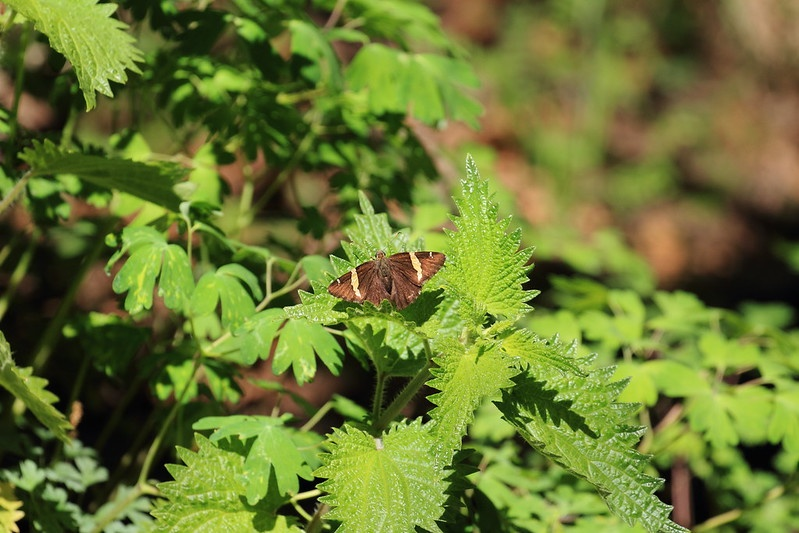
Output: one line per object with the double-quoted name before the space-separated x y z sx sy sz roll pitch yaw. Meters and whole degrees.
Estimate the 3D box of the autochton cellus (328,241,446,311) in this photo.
"autochton cellus" -0.044 0.045 3.163 0.365 0.240 0.090 -7 -2 1
